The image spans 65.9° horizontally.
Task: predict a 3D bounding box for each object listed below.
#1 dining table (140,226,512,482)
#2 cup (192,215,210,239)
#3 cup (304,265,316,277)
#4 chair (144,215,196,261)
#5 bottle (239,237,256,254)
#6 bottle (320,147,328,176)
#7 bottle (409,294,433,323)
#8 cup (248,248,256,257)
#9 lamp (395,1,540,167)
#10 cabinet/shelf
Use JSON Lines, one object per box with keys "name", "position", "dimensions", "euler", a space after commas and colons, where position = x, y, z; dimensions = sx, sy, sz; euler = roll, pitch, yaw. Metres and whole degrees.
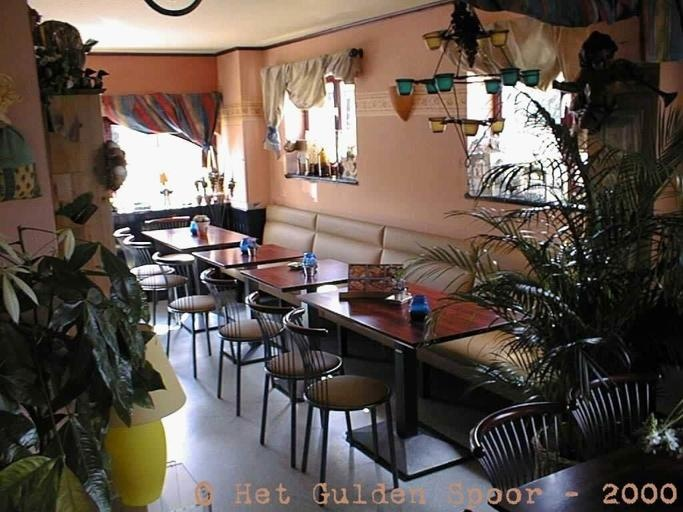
{"name": "dining table", "position": [0.101, 0.590, 4.627], "dimensions": [1.038, 1.369, 3.161], "euler": [-12, 17, -31]}
{"name": "cup", "position": [-1.850, -0.389, 7.074], "dimensions": [0.291, 0.313, 0.310], "euler": [1, 8, 0]}
{"name": "cup", "position": [-0.306, 0.146, 5.120], "dimensions": [0.104, 0.077, 0.082], "euler": [-2, 15, 2]}
{"name": "chair", "position": [-2.562, -0.151, 7.733], "dimensions": [0.798, 0.806, 0.591], "euler": [-10, 16, -36]}
{"name": "bottle", "position": [-1.070, -0.115, 6.051], "dimensions": [0.167, 0.129, 0.184], "euler": [3, 9, 5]}
{"name": "bottle", "position": [-0.229, -1.289, 7.216], "dimensions": [0.121, 0.368, 0.201], "euler": [-4, 15, -6]}
{"name": "bottle", "position": [0.571, 0.386, 3.787], "dimensions": [0.181, 0.233, 0.121], "euler": [2, 5, 20]}
{"name": "cup", "position": [-1.011, -0.043, 5.970], "dimensions": [0.098, 0.085, 0.089], "euler": [-2, 13, -4]}
{"name": "lamp", "position": [1.076, -1.473, 4.578], "dimensions": [0.985, 1.429, 1.647], "euler": [0, 15, 12]}
{"name": "cabinet/shelf", "position": [-1.365, -0.427, 2.749], "dimensions": [0.310, 0.804, 0.225], "euler": [-11, 17, -27]}
